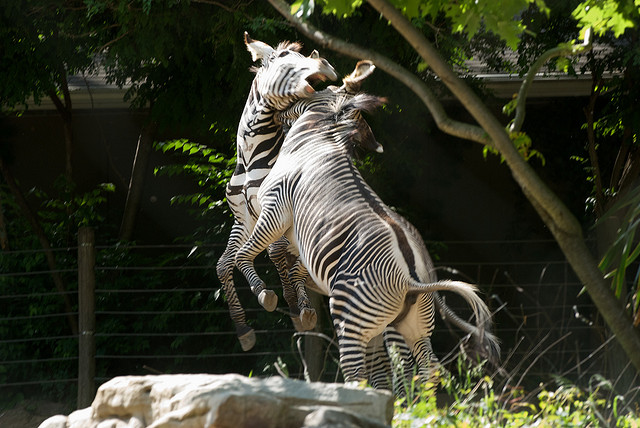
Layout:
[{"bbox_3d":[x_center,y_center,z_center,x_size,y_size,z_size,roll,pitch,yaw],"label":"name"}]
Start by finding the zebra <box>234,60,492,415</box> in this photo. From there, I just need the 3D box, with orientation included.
[{"bbox_3d":[0.357,0.235,8.238,0.886,2.533,4.458,-8,55,-29],"label":"zebra"}]

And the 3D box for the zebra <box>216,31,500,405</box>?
[{"bbox_3d":[0.128,0.221,7.484,0.851,2.933,4.101,4,22,-41],"label":"zebra"}]
